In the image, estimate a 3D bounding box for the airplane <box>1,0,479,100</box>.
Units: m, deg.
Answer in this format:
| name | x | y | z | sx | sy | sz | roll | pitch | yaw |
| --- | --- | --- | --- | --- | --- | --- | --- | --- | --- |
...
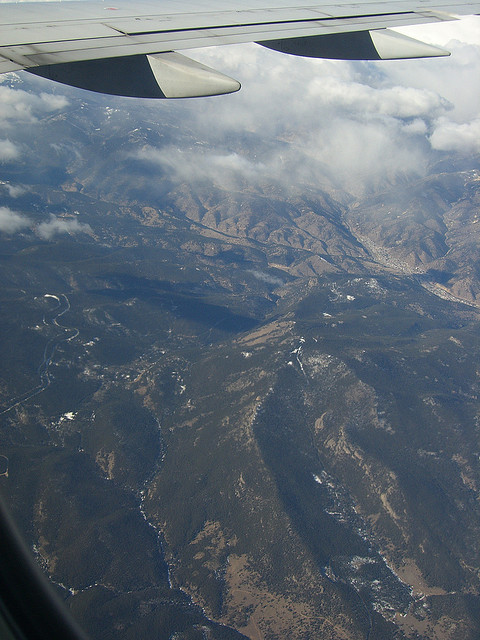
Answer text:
| name | x | y | z | sx | sy | sz | roll | pitch | yaw |
| --- | --- | --- | --- | --- | --- | --- | --- | --- | --- |
| airplane | -0.553 | -4.675 | 10.640 | 6.839 | 1.177 | 3.949 | -9 | 38 | -21 |
